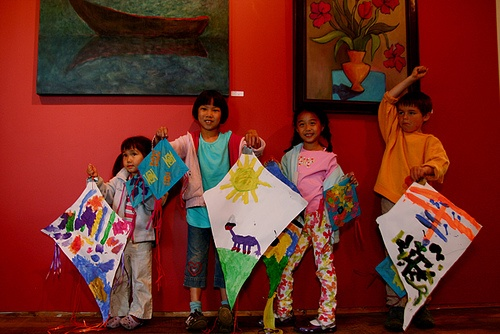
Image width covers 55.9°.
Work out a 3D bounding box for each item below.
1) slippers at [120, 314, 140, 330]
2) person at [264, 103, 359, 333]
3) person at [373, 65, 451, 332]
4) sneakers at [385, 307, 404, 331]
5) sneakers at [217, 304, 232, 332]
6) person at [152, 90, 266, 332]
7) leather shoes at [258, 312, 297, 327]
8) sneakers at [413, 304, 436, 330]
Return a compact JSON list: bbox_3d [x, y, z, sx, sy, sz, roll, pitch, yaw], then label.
[{"bbox_3d":[-0.813,1.049,3.196,0.143,0.089,0.060,1,6,4],"label":"slippers"},{"bbox_3d":[0.467,0.343,3.294,0.534,1.501,0.463,2,6,11],"label":"person"},{"bbox_3d":[1.130,0.187,3.356,0.464,1.791,0.563,1,6,0],"label":"person"},{"bbox_3d":[0.991,1.037,3.223,0.118,0.135,0.119,3,6,18],"label":"sneakers"},{"bbox_3d":[-0.160,1.012,3.193,0.107,0.176,0.119,0,6,-3],"label":"sneakers"},{"bbox_3d":[-0.284,0.268,3.310,0.578,1.611,0.528,7,9,44],"label":"person"},{"bbox_3d":[0.192,1.057,3.295,0.248,0.097,0.095,3,-10,-11],"label":"leather shoes"},{"bbox_3d":[1.208,1.030,3.238,0.146,0.131,0.108,-4,7,-35],"label":"sneakers"}]
